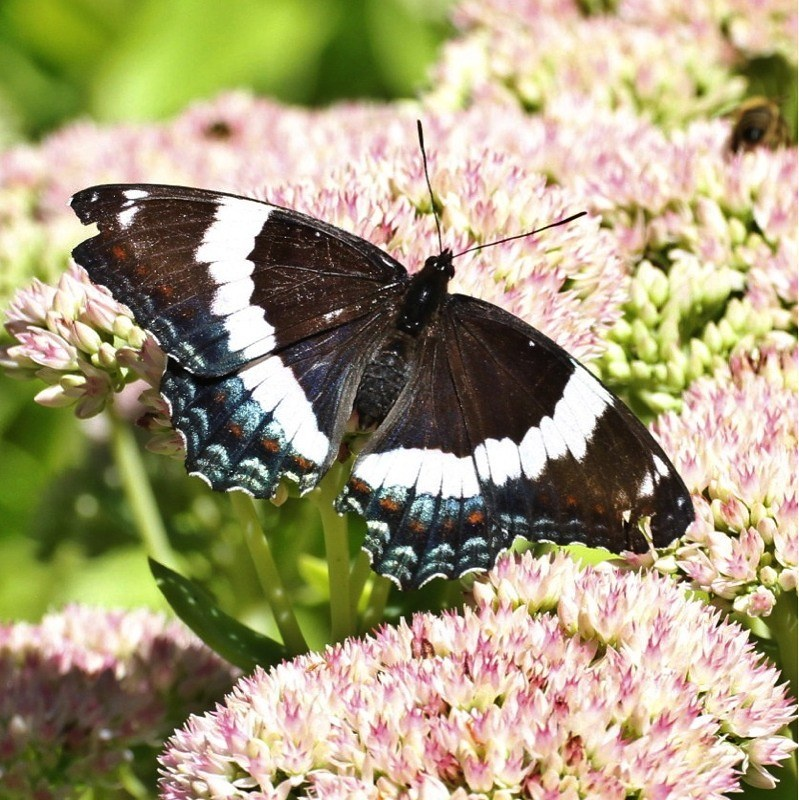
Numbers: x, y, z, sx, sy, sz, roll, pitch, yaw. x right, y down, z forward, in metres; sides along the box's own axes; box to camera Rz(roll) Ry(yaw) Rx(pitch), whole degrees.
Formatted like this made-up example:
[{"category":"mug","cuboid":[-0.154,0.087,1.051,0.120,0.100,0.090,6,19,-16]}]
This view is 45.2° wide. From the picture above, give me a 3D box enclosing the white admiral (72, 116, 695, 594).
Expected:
[{"category":"white admiral","cuboid":[-0.046,-0.022,1.207,0.486,0.283,0.720,-30,66,-13]}]
